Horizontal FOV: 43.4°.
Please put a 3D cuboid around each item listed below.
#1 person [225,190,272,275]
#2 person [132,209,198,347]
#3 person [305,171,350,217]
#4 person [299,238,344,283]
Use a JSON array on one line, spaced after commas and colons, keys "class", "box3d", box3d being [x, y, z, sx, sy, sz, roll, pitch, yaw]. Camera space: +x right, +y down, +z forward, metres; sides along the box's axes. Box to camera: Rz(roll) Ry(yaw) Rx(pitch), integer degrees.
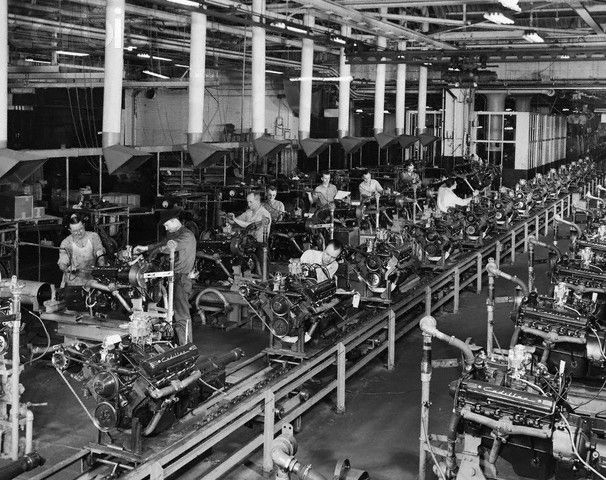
[{"class": "person", "box3d": [-0.943, -0.171, 13.159, 0.648, 1.266, 0.509, -4, 9, -28]}, {"class": "person", "box3d": [-1.937, 0.645, 10.774, 0.803, 2.160, 0.828, -3, 9, -21]}, {"class": "person", "box3d": [0.513, -0.945, 16.236, 0.685, 0.686, 1.094, -1, 8, -1]}, {"class": "person", "box3d": [0.258, 0.290, 10.068, 0.541, 0.555, 0.959, -1, 9, 2]}]
